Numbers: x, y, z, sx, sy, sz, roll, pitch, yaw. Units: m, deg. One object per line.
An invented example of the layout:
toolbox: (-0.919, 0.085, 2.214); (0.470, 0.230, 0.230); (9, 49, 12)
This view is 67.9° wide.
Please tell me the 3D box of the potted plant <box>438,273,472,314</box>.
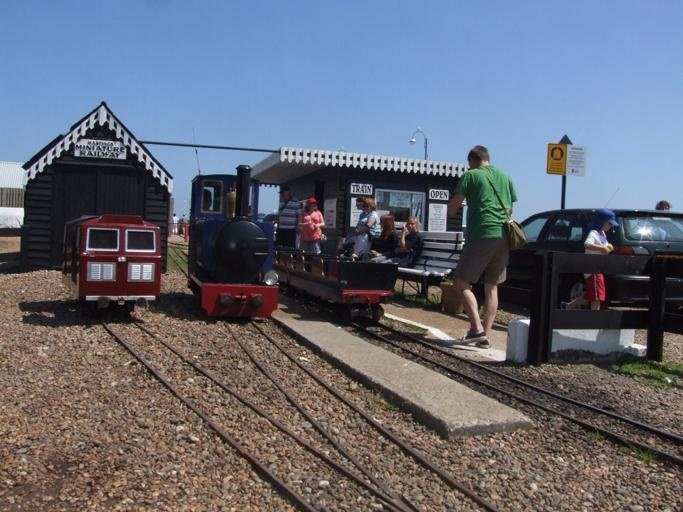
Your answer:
potted plant: (2.401, 0.781, 10.133); (0.646, 0.584, 0.682); (-19, 0, 9)

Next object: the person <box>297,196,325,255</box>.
person: (-0.725, -0.707, 12.154); (0.575, 1.357, 1.466); (1, 8, -4)

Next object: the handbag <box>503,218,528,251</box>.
handbag: (2.373, -0.292, 6.930); (0.359, 0.394, 0.212); (-6, 10, -41)

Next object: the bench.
bench: (2.142, 0.211, 11.361); (0.585, 1.168, 1.777); (-15, -5, 28)

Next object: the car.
car: (3.580, 0.188, 7.543); (1.614, 1.332, 3.106); (-1, 7, -17)

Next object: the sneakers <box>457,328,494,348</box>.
sneakers: (1.867, 1.162, 7.156); (0.483, 0.238, 0.187); (4, 5, 41)

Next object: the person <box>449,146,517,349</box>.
person: (1.910, -0.111, 7.086); (0.925, 2.795, 0.578); (1, 7, -4)
